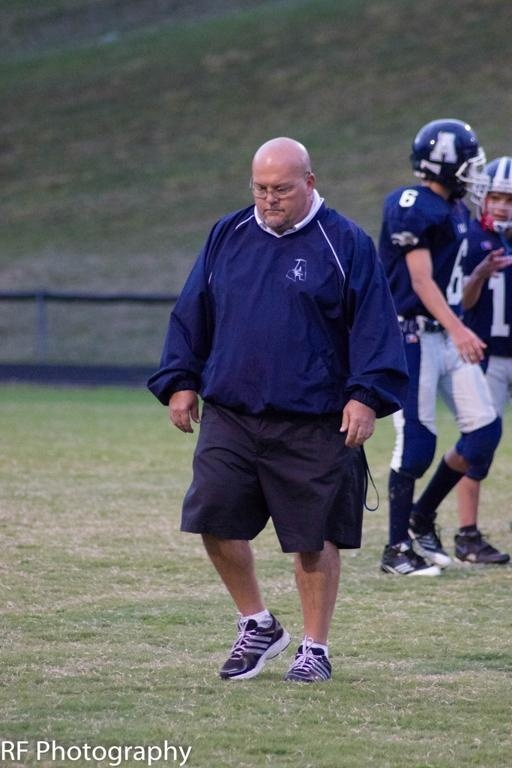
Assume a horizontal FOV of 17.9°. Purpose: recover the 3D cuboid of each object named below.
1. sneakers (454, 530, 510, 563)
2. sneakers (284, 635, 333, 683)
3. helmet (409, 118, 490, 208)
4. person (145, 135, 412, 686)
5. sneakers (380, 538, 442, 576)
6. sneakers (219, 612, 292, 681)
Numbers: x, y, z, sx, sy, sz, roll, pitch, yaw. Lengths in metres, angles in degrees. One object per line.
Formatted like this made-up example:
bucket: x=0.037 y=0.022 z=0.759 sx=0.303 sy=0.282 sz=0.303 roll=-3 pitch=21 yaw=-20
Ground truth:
sneakers: x=0.967 y=0.676 z=6.729 sx=0.095 sy=0.134 sz=0.282 roll=0 pitch=-4 yaw=-44
sneakers: x=0.166 y=0.867 z=5.105 sx=0.145 sy=0.125 sz=0.121 roll=1 pitch=7 yaw=2
helmet: x=0.764 y=-0.908 z=6.481 sx=0.290 sy=0.320 sz=0.236 roll=2 pitch=8 yaw=5
person: x=0.063 y=0.069 z=5.175 sx=0.823 sy=1.708 sz=0.450 roll=2 pitch=8 yaw=4
sneakers: x=0.621 y=0.698 z=6.507 sx=0.228 sy=0.139 sz=0.120 roll=1 pitch=1 yaw=0
sneakers: x=0.000 y=0.829 z=5.212 sx=0.103 sy=0.155 sz=0.300 roll=5 pitch=33 yaw=41
